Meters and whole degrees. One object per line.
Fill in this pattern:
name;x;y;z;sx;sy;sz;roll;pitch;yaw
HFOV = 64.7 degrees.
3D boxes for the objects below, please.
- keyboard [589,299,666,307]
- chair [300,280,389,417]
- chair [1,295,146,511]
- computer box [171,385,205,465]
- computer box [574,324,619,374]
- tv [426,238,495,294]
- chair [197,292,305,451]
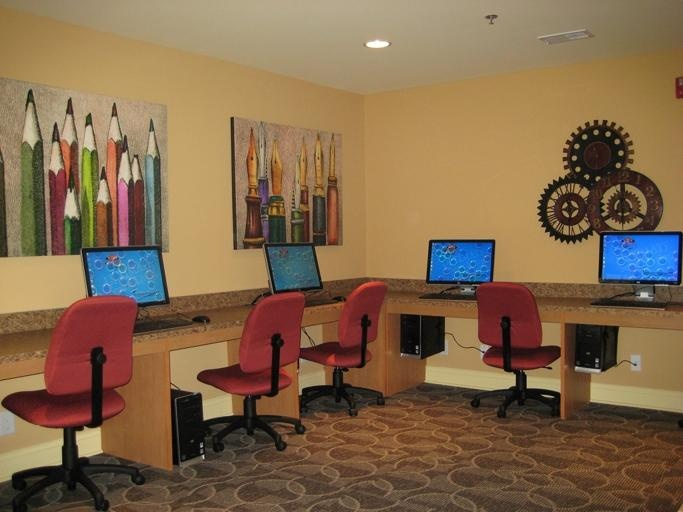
keyboard;2.364;0.378;4.400;0.521;0.029;0.464;1;4;31
chair;-0.031;0.799;4.880;0.810;1.070;0.772;-2;-3;32
chair;-1.641;0.881;3.315;0.818;1.305;0.502;-2;4;-2
computer box;-1.096;1.221;3.848;0.211;0.471;0.212;-2;4;-13
computer box;2.215;0.824;4.710;0.263;0.436;0.362;-4;-20;44
tv;1.211;0.105;5.440;0.928;0.637;0.514;-2;-7;28
chair;-0.680;0.854;4.125;0.794;1.111;0.803;0;-1;-44
